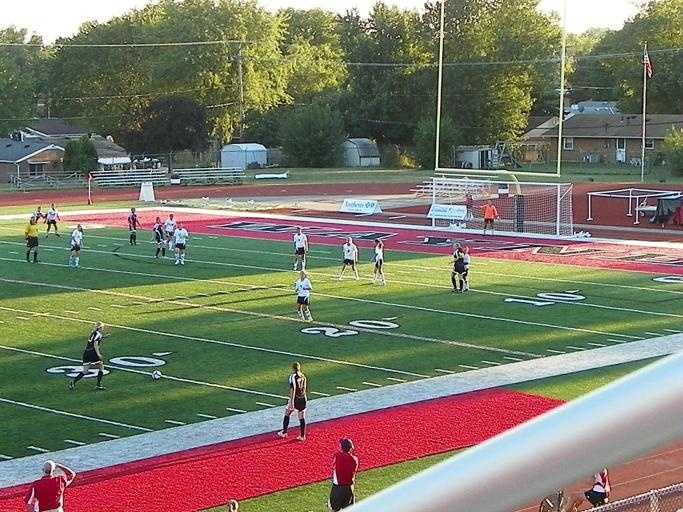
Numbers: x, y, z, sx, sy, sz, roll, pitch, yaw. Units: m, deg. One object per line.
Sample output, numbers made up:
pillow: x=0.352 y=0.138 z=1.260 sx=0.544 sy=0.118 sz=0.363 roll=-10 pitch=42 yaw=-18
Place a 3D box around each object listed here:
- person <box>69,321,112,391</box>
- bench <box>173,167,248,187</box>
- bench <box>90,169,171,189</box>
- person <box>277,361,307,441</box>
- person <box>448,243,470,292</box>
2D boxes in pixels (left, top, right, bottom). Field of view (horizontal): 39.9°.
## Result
person: x=-4.764 y=1.835 z=17.544 sx=0.638 sy=1.217 sz=1.163 roll=-3 pitch=4 yaw=-16
bench: x=-10.188 y=-6.196 z=72.639 sx=5.061 sy=1.339 sz=2.174 roll=-2 pitch=3 yaw=-11
bench: x=-16.131 y=-5.935 z=71.402 sx=5.211 sy=1.369 sz=2.502 roll=-2 pitch=3 yaw=-24
person: x=-0.795 y=2.164 z=14.626 sx=0.445 sy=1.227 sz=1.343 roll=-2 pitch=3 yaw=-4
person: x=3.359 y=0.343 z=26.881 sx=0.432 sy=1.347 sz=0.814 roll=-1 pitch=3 yaw=6
